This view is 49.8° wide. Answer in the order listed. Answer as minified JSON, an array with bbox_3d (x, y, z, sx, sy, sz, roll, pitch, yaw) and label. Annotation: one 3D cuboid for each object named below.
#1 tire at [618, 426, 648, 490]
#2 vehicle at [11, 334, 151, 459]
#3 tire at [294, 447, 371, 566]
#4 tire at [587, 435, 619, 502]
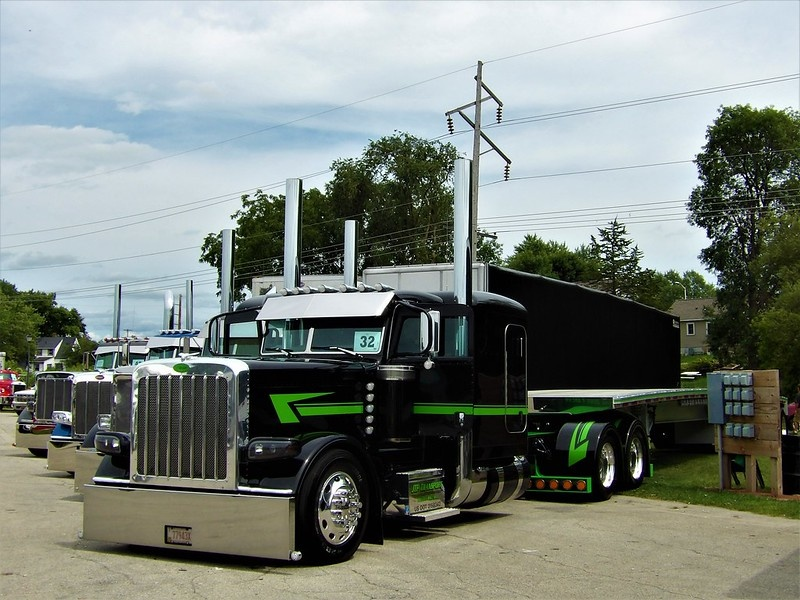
[{"bbox_3d":[4.272,2.921,15.896,0.315,0.925,0.919,1,-24,26],"label":"tire"},{"bbox_3d":[-7.030,2.253,19.079,2.916,1.735,1.570,0,12,41],"label":"vehicle"},{"bbox_3d":[-0.757,2.326,9.716,0.279,1.268,1.026,-1,-4,34],"label":"tire"},{"bbox_3d":[3.448,2.856,14.892,0.351,1.063,1.060,-4,3,36],"label":"tire"}]
